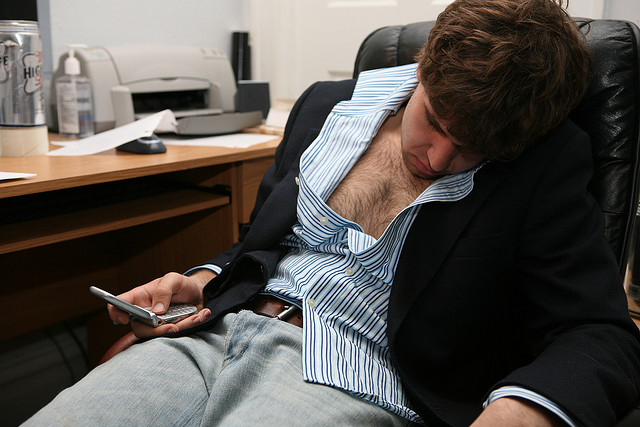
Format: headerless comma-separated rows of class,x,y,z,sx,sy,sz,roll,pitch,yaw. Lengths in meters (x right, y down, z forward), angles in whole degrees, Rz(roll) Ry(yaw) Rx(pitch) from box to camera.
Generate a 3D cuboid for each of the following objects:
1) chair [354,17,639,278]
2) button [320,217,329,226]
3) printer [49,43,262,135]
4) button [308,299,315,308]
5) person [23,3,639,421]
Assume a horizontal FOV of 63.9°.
chair,0.550,-0.204,1.756,0.699,0.989,0.750,6,9,37
button,0.008,0.018,1.206,0.017,0.017,0.005,-3,10,17
printer,-0.566,-0.462,1.807,0.398,0.356,0.846,20,25,40
button,-0.020,0.204,1.169,0.012,0.016,0.004,5,-15,-14
person,0.118,-0.016,1.166,1.083,0.873,0.636,3,17,5
